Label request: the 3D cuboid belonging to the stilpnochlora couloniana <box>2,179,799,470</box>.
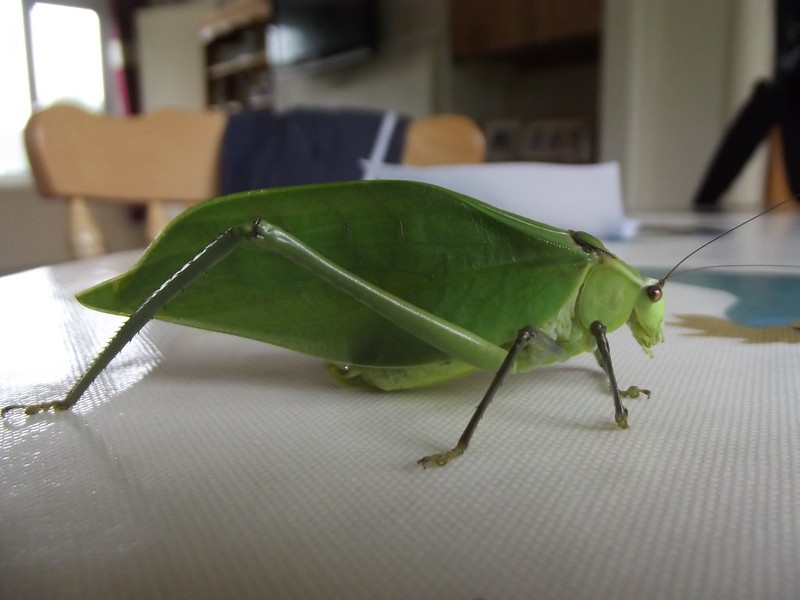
[{"bbox_3d":[-0.026,-0.024,0.680,0.489,0.155,0.320,2,16,5],"label":"stilpnochlora couloniana"}]
